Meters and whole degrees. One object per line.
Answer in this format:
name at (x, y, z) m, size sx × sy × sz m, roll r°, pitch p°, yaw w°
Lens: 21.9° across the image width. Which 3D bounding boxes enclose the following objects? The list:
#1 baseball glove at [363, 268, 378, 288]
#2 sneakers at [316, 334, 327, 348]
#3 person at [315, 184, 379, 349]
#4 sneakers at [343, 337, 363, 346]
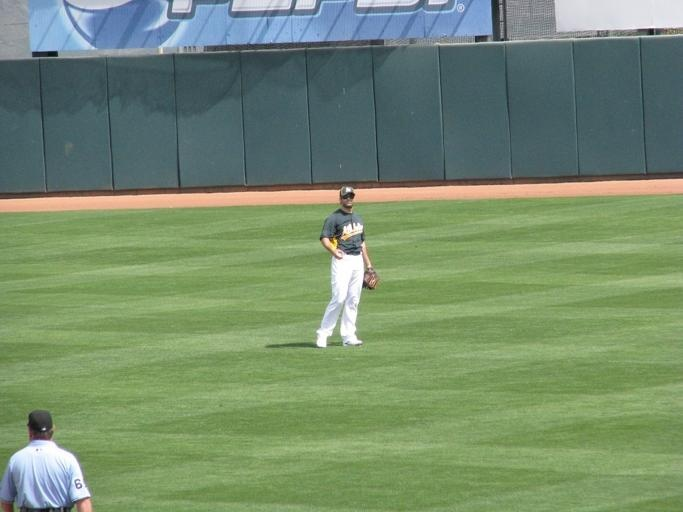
baseball glove at (0.498, 0.395, 31.336) m, size 0.262 × 0.320 × 0.111 m, roll 15°, pitch -2°, yaw -21°
sneakers at (-0.360, 1.479, 30.966) m, size 0.132 × 0.212 × 0.171 m, roll -18°, pitch 28°, yaw -33°
person at (0.069, 0.238, 31.126) m, size 0.956 × 2.749 × 1.284 m, roll 2°, pitch -14°, yaw 0°
sneakers at (0.187, 1.497, 31.055) m, size 0.294 × 0.118 × 0.138 m, roll -2°, pitch 1°, yaw 14°
